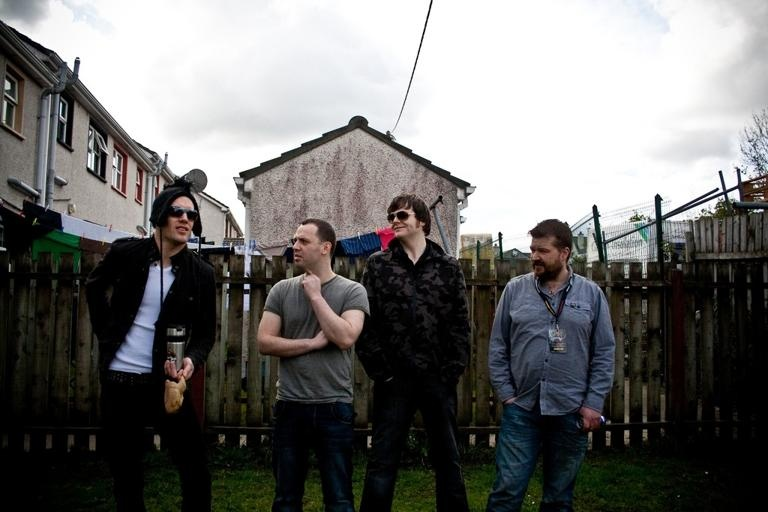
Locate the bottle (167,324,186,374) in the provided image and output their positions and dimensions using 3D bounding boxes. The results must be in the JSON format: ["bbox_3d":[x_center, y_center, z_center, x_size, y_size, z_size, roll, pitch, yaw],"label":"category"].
[{"bbox_3d":[-1.927,0.868,6.482,0.206,0.435,0.137,7,-14,-41],"label":"bottle"}]
